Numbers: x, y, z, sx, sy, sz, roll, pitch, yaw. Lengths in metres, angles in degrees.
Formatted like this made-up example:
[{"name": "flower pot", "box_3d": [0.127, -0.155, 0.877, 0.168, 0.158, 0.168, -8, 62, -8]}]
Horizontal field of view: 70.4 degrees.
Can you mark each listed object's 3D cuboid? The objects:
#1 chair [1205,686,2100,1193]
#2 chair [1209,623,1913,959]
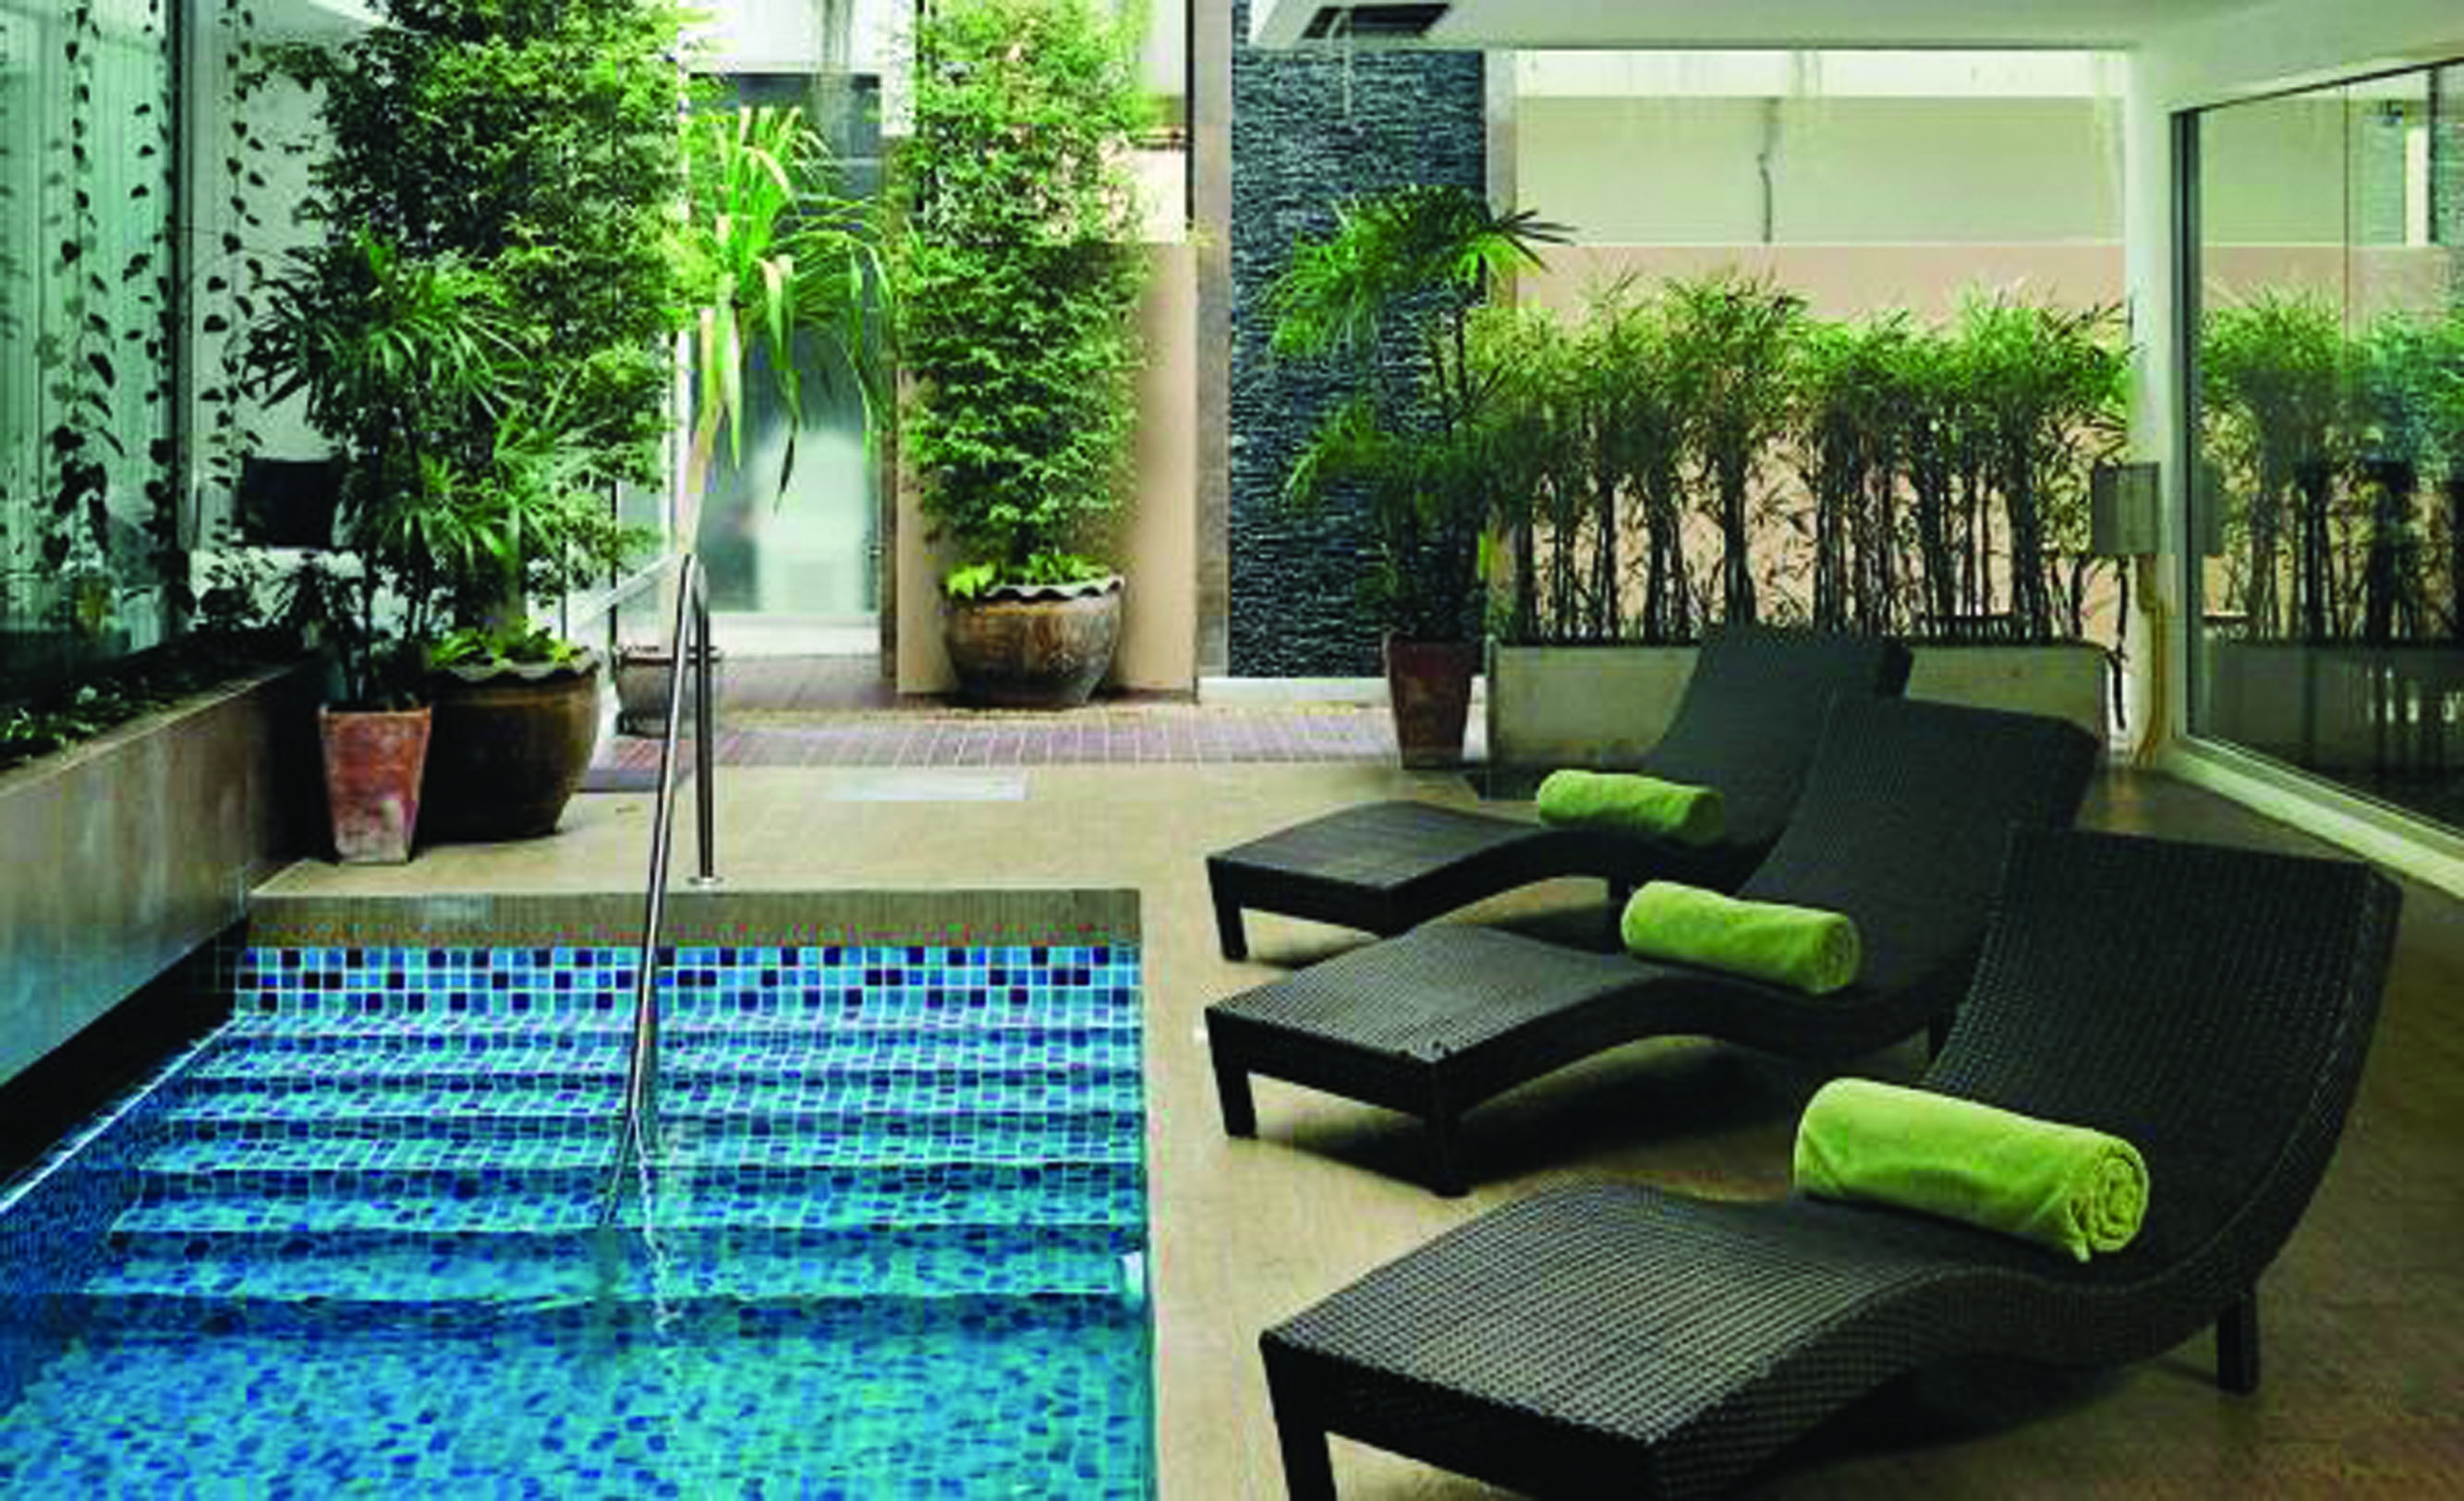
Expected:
[{"name": "chair", "box_3d": [1.203, 0.358, 5.301, 2.648, 1.223, 1.296, -5, 6, -28]}, {"name": "chair", "box_3d": [1.209, 0.159, 6.346, 2.400, 1.073, 1.262, -2, 3, -31]}]
